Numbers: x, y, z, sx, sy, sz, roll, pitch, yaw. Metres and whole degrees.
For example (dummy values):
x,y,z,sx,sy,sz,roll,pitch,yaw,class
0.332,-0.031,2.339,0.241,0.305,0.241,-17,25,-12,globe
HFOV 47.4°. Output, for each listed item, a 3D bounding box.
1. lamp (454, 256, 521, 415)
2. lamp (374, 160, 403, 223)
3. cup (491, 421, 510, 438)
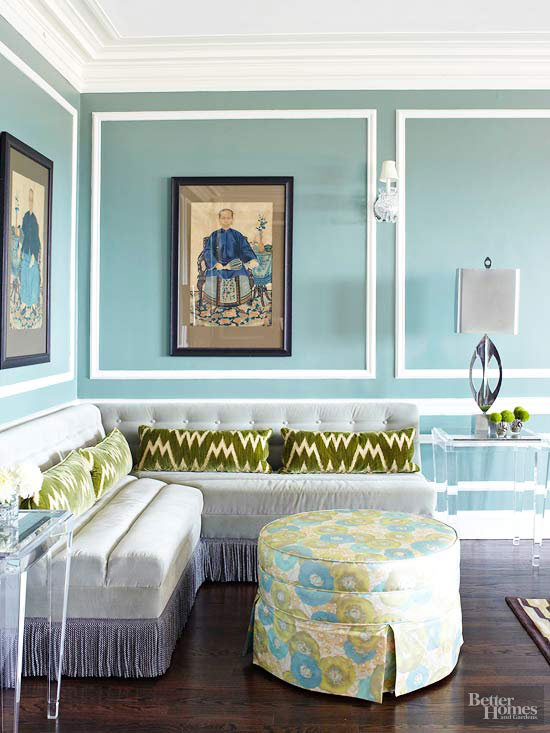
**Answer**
x,y,z,sx,sy,sz,roll,pitch,yaw,class
1.221,-0.192,3.594,0.320,0.937,0.487,0,1,22,lamp
0.654,-1.056,3.710,0.150,0.376,0.301,0,1,9,lamp
1.245,0.349,3.444,0.082,0.103,0.086,2,-5,0,cup
